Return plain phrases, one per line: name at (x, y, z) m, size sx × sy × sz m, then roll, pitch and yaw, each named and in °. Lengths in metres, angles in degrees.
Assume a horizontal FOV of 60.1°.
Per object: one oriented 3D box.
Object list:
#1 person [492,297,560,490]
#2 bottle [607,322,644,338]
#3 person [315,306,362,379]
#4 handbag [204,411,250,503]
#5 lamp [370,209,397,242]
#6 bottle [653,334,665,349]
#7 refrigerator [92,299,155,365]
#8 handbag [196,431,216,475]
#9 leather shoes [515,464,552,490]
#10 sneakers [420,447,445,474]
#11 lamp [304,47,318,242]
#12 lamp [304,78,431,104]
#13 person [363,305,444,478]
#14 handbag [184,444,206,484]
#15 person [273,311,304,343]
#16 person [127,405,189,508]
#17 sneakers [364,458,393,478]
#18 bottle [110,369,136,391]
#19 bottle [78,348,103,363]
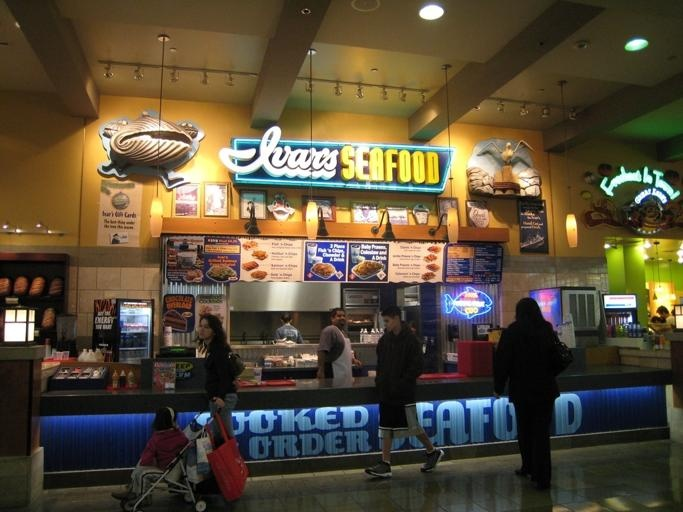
person at (1.970, 1.424, 6.257) m, size 0.684 × 1.964 × 0.381 m, roll -3°, pitch -8°, yaw 16°
bottle at (4.782, 1.240, 9.945) m, size 0.364 × 0.131 × 0.367 m, roll -1°, pitch -1°, yaw 0°
person at (-0.053, 1.120, 7.671) m, size 0.548 × 0.913 × 1.447 m, roll -1°, pitch -7°, yaw 1°
handbag at (-1.180, 2.046, 5.932) m, size 0.208 × 0.912 × 0.665 m, roll -23°, pitch -20°, yaw 7°
lamp at (0.678, -0.564, 9.723) m, size 0.406 × 0.631 × 1.037 m, roll -1°, pitch -7°, yaw 3°
bottle at (4.627, 1.232, 8.573) m, size 0.170 × 0.213 × 0.485 m, roll -5°, pitch -7°, yaw 28°
refrigerator at (-3.170, 1.050, 8.467) m, size 0.646 × 0.964 × 0.664 m, roll -1°, pitch -6°, yaw 14°
handbag at (-1.343, 1.920, 5.757) m, size 0.207 × 0.470 × 0.343 m, roll 2°, pitch -10°, yaw -5°
leather shoes at (2.050, 2.353, 6.321) m, size 0.214 × 0.143 × 0.564 m, roll 1°, pitch -6°, yaw -13°
sneakers at (1.026, 2.314, 6.737) m, size 0.172 × 0.383 × 0.142 m, roll 30°, pitch 7°, yaw -5°
lamp at (-0.515, -1.643, 8.488) m, size 0.220 × 2.946 × 0.219 m, roll -4°, pitch -6°, yaw 15°
lamp at (0.497, -2.711, 9.467) m, size 2.432 × 0.287 × 0.261 m, roll 1°, pitch -25°, yaw -23°
person at (0.621, 1.501, 6.612) m, size 0.747 × 1.870 × 0.480 m, roll -2°, pitch -8°, yaw 6°
handbag at (-1.441, 2.024, 5.769) m, size 0.189 × 0.363 × 0.076 m, roll 1°, pitch -8°, yaw -14°
person at (-0.966, 1.218, 10.211) m, size 0.610 × 0.721 × 0.261 m, roll -1°, pitch 2°, yaw 1°
person at (-1.790, 1.978, 6.100) m, size 0.844 × 1.073 × 0.756 m, roll 3°, pitch -10°, yaw -15°
sneakers at (0.394, 2.348, 6.524) m, size 0.303 × 0.173 × 0.159 m, roll 4°, pitch -14°, yaw -12°
bottle at (-2.549, 1.419, 6.789) m, size 0.174 × 0.178 × 0.292 m, roll -1°, pitch 0°, yaw 27°
bottle at (-3.081, 1.221, 7.258) m, size 0.288 × 0.301 × 0.170 m, roll 0°, pitch -2°, yaw -17°
